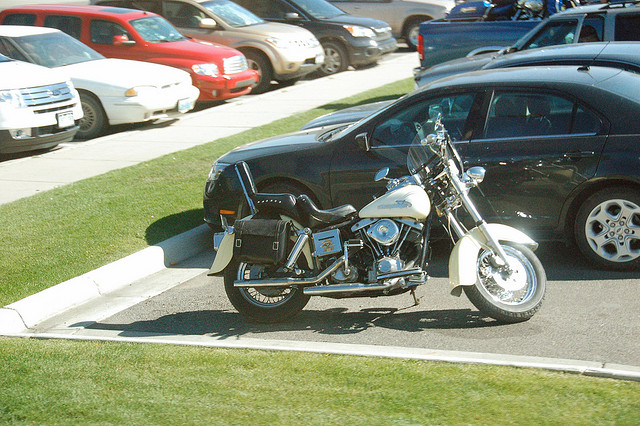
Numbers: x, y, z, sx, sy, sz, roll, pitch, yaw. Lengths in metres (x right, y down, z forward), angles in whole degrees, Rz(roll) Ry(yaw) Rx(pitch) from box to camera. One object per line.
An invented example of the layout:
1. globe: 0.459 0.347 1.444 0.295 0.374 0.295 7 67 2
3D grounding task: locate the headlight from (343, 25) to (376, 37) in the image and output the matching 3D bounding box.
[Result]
1. headlight: 1.118 -5.261 19.258 0.752 0.169 0.446 2 12 -5

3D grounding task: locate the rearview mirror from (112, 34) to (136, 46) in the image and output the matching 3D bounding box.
1. rearview mirror: -4.502 -3.943 15.226 0.491 0.252 0.240 8 29 29

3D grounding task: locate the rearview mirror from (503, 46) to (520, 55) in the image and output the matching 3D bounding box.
1. rearview mirror: 3.353 -2.887 11.800 0.301 0.097 0.148 -8 17 11

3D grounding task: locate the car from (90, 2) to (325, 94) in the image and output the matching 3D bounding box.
1. car: -2.086 -4.610 18.080 6.505 1.785 2.454 1 15 9

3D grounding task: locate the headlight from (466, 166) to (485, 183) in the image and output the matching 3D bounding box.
1. headlight: 1.471 -0.372 6.230 0.140 0.152 0.185 11 29 32

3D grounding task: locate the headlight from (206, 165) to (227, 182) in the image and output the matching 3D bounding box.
1. headlight: -1.287 -0.489 8.263 0.242 0.210 0.088 7 -17 13

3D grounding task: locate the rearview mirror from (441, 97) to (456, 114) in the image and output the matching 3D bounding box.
1. rearview mirror: 1.473 -1.248 7.681 0.105 0.172 0.130 16 35 38

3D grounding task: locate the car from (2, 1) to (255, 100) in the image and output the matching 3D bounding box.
1. car: -4.485 -3.925 16.123 6.146 1.426 2.333 7 15 11

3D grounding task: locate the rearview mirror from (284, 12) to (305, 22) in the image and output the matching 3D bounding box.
1. rearview mirror: -0.714 -5.634 19.179 0.429 0.116 0.277 1 3 -32

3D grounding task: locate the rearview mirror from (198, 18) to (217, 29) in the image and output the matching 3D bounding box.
1. rearview mirror: -2.899 -4.827 16.960 0.381 0.060 0.309 0 1 12
